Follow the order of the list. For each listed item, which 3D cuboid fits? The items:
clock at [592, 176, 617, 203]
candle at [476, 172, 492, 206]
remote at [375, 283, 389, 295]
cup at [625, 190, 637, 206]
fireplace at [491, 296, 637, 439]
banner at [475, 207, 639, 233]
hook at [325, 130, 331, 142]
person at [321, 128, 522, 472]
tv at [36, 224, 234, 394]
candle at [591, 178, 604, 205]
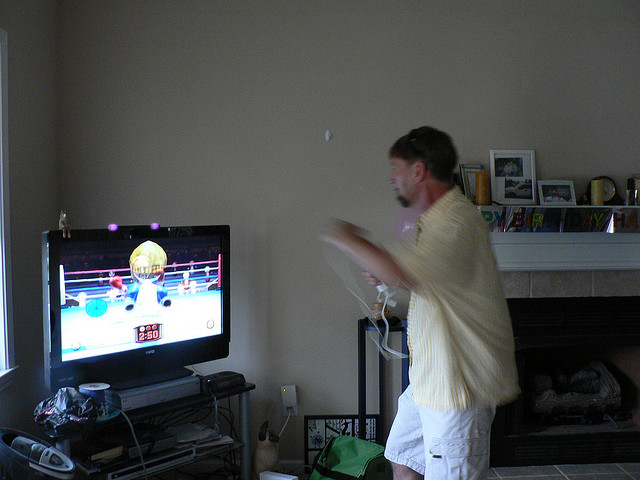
[{"bbox_3d":[1.783,-0.313,3.995,0.149,0.165,0.050,-1,2,-10],"label":"clock"},{"bbox_3d":[1.004,-0.310,3.921,0.061,0.207,0.145,0,2,37],"label":"candle"},{"bbox_3d":[0.331,0.262,3.410,0.081,0.081,0.082,-2,-9,2],"label":"remote"},{"bbox_3d":[1.905,-0.257,3.947,0.067,0.098,0.116,0,2,26],"label":"cup"},{"bbox_3d":[1.450,0.762,3.813,0.906,0.773,0.307,0,-2,-2],"label":"fireplace"},{"bbox_3d":[1.437,-0.119,3.875,0.964,0.169,0.096,-1,2,-6],"label":"banner"},{"bbox_3d":[0.054,-0.632,3.916,0.034,0.086,0.015,8,-8,-5],"label":"hook"},{"bbox_3d":[0.478,0.303,2.846,0.793,1.590,0.425,-1,2,7],"label":"person"},{"bbox_3d":[-1.007,0.367,3.398,0.921,0.744,0.119,-1,0,-33],"label":"tv"},{"bbox_3d":[1.685,-0.289,3.919,0.063,0.150,0.030,0,2,23],"label":"candle"}]
